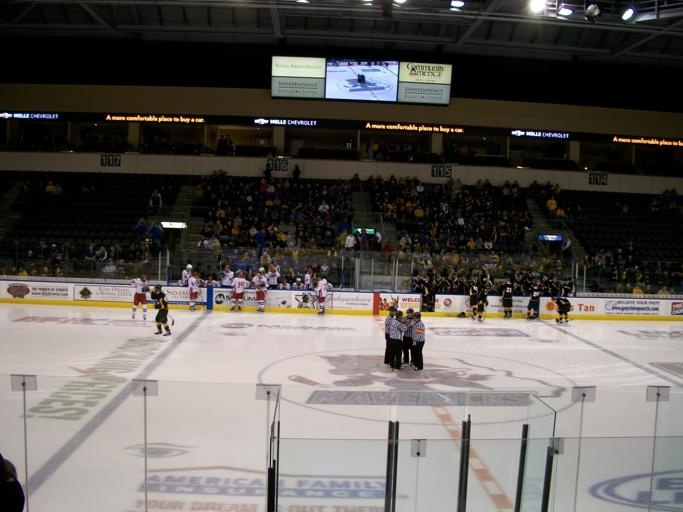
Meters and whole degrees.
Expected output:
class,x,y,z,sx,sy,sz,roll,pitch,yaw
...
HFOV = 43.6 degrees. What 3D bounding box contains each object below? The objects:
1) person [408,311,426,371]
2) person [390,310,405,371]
class,x,y,z,sx,sy,sz,roll,pitch,yaw
person,2.506,2.877,28.308,0.384,1.881,1.047,0,1,4
person,1.834,2.858,28.027,0.483,1.913,0.506,0,1,2
